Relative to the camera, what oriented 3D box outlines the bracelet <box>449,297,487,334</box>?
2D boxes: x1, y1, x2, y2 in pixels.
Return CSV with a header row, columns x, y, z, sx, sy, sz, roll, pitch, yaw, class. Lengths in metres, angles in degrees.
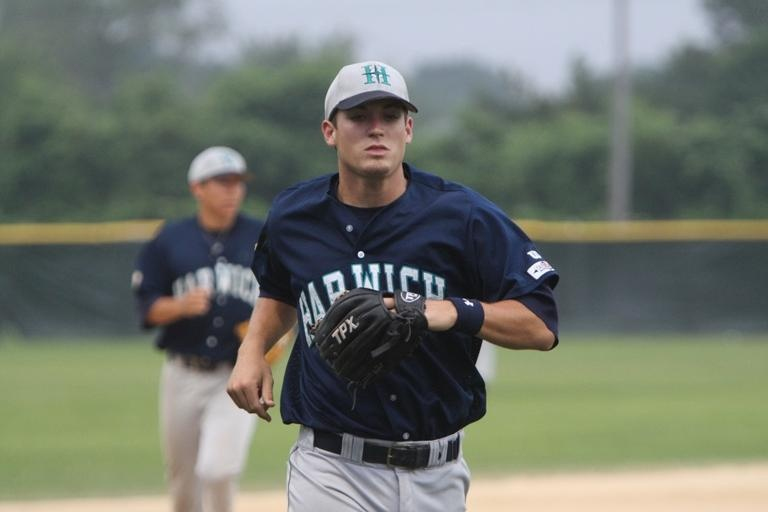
x,y,z,sx,sy,sz,roll,pitch,yaw,class
0.544,0.402,8.740,0.225,0.231,0.071,0,12,1,bracelet
